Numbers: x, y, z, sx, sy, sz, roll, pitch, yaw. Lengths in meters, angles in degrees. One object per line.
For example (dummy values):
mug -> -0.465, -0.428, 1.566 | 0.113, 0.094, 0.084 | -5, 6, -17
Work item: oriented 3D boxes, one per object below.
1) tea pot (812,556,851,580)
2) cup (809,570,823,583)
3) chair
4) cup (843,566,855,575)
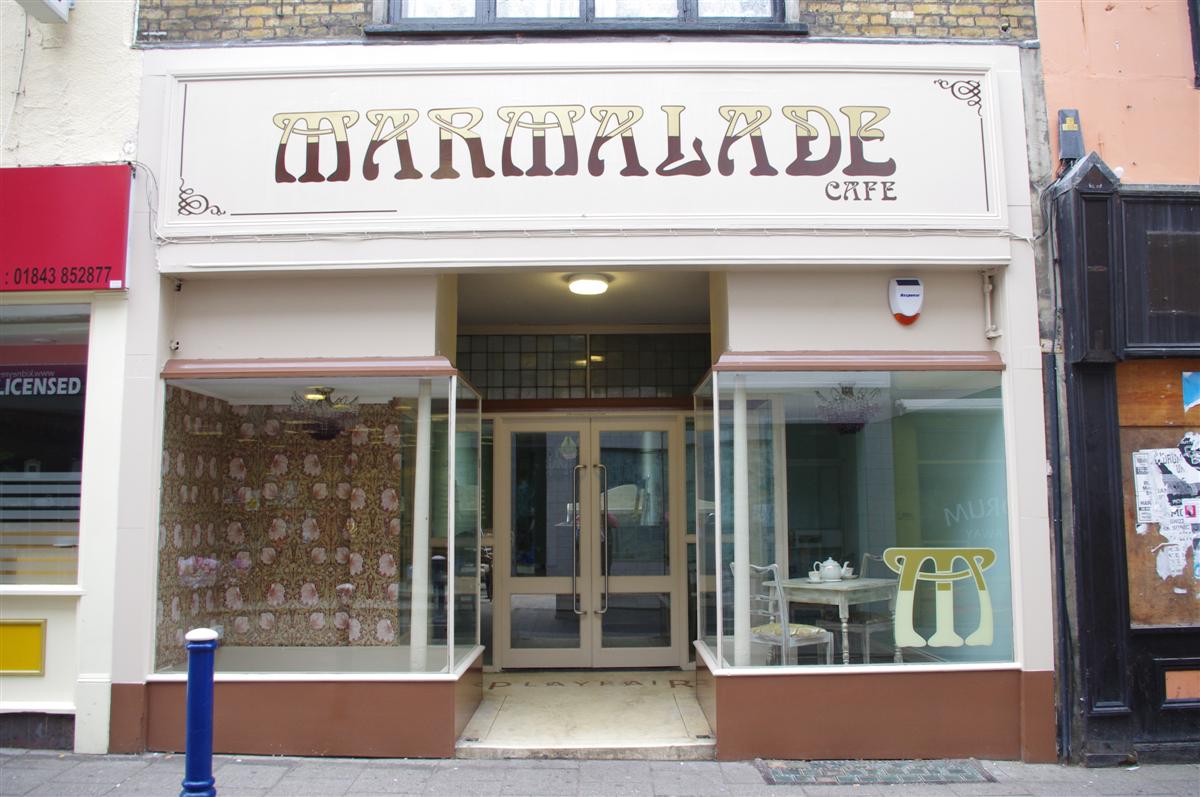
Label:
tea pot -> 2.067, 1.517, 10.482 | 0.304, 0.168, 0.193 | 1, -4, 20
cup -> 1.911, 1.581, 10.409 | 0.108, 0.068, 0.080 | 1, -9, 4
chair -> 1.898, 1.866, 10.386 | 1.069, 0.618, 0.929 | -4, -8, 41
cup -> 2.217, 1.532, 10.472 | 0.080, 0.055, 0.072 | 1, -4, 6
